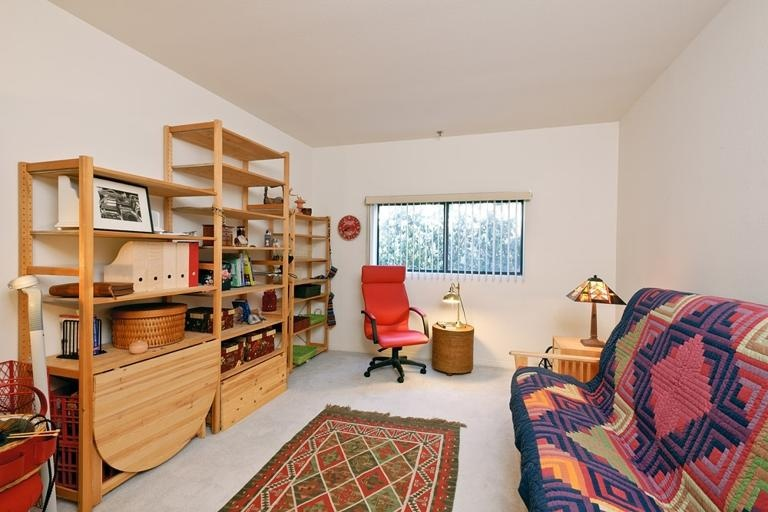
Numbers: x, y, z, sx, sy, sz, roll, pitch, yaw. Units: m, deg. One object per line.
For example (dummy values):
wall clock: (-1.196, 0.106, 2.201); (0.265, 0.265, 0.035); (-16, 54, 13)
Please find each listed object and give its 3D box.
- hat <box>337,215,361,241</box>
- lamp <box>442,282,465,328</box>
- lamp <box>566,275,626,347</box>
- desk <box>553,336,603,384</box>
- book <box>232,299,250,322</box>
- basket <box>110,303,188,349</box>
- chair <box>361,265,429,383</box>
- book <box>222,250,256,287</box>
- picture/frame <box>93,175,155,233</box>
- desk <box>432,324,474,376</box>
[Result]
hat: (-0.424, -0.370, 6.402); (0.318, 0.301, 0.115); (-3, 0, 16)
lamp: (0.841, 0.566, 5.791); (0.282, 0.512, 0.514); (-2, 1, 7)
lamp: (1.998, 0.531, 4.670); (0.596, 0.596, 0.588); (4, -3, -17)
desk: (1.740, 0.868, 4.476); (0.301, 0.330, 0.511); (0, -3, 16)
book: (-1.420, 0.554, 4.954); (0.192, 0.257, 0.099); (3, 24, 6)
basket: (-1.901, 0.541, 4.037); (0.416, 0.218, 0.408); (-3, -2, 22)
chair: (0.134, 0.729, 5.767); (0.723, 1.246, 0.993); (-2, 1, -2)
book: (-1.440, 0.152, 4.971); (0.307, 0.390, 0.410); (-6, -3, 17)
picture/frame: (-2.045, -0.410, 3.880); (0.021, 0.354, 0.496); (-10, -9, 22)
desk: (0.776, 1.048, 5.550); (0.552, 0.560, 0.508); (0, -6, -1)
